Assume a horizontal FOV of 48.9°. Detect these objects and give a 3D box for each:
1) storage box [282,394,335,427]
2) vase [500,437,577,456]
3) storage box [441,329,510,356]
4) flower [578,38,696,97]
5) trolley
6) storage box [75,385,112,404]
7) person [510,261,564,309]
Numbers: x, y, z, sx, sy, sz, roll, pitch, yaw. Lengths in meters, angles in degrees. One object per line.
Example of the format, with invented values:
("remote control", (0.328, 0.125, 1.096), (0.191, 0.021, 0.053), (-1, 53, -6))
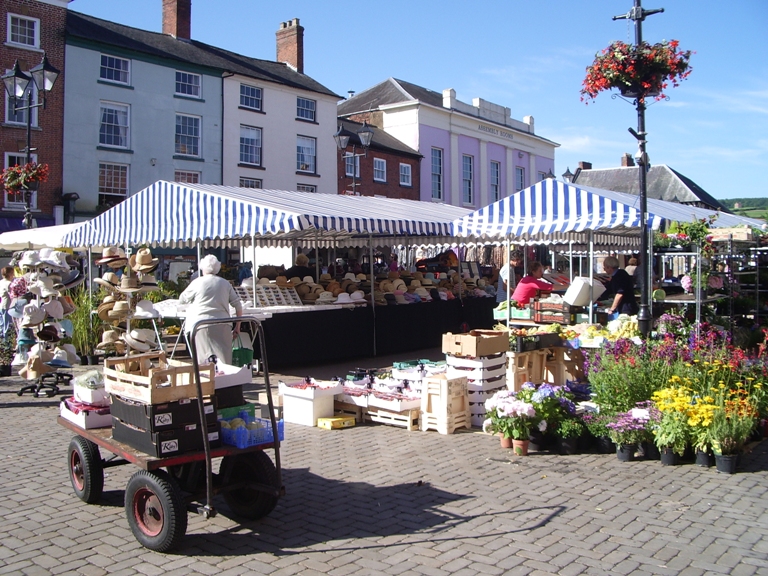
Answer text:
("storage box", (-1.082, 1.676, 11.703), (0.472, 0.297, 0.479), (1, 1, 39))
("vase", (1.851, 1.933, 10.358), (0.525, 0.178, 0.355), (0, 1, 43))
("storage box", (1.206, 0.758, 11.574), (0.428, 0.257, 0.601), (0, 1, 40))
("flower", (3.769, -3.334, 12.871), (1.439, 0.791, 1.385), (-15, 13, -32))
("trolley", (-2.224, 1.348, 8.897), (1.509, 2.192, 2.689), (-3, 9, -43))
("storage box", (-3.078, 1.129, 8.936), (0.204, 0.142, 0.288), (3, -2, -35))
("person", (2.381, -0.095, 13.638), (0.559, 0.566, 1.234), (3, 14, 18))
